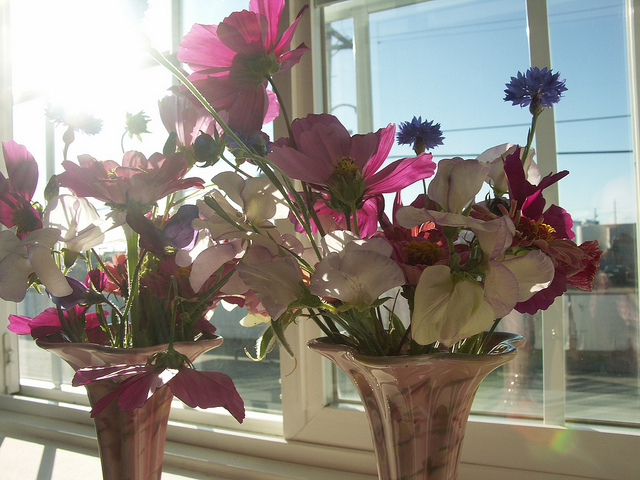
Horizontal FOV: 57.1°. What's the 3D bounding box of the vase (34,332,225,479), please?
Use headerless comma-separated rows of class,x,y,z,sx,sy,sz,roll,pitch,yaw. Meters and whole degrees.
vase,-0.294,0.222,0.935,0.231,0.278,0.255,0,-3,1

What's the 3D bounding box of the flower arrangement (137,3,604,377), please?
flower arrangement,0.086,-0.050,1.043,0.616,0.632,0.437,1,-4,11

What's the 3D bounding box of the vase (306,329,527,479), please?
vase,0.133,0.182,0.807,0.209,0.170,0.218,-2,-4,37
